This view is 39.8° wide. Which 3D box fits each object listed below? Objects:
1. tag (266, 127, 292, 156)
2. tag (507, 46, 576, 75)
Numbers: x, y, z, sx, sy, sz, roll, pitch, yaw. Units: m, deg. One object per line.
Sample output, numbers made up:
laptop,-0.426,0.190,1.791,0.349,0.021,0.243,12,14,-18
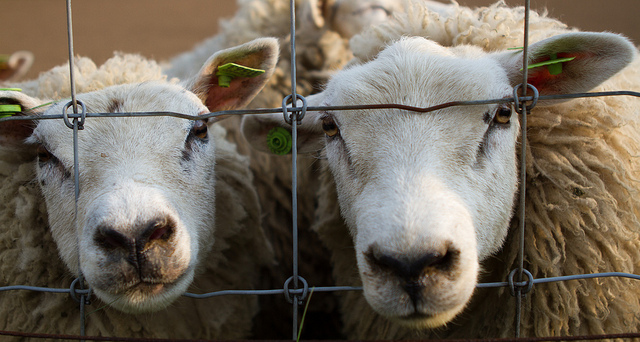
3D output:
tag,-0.372,-0.280,8.007,0.265,0.226,0.105,1,7,9
tag,2.019,-0.929,7.788,0.316,0.114,0.301,-7,-5,3
